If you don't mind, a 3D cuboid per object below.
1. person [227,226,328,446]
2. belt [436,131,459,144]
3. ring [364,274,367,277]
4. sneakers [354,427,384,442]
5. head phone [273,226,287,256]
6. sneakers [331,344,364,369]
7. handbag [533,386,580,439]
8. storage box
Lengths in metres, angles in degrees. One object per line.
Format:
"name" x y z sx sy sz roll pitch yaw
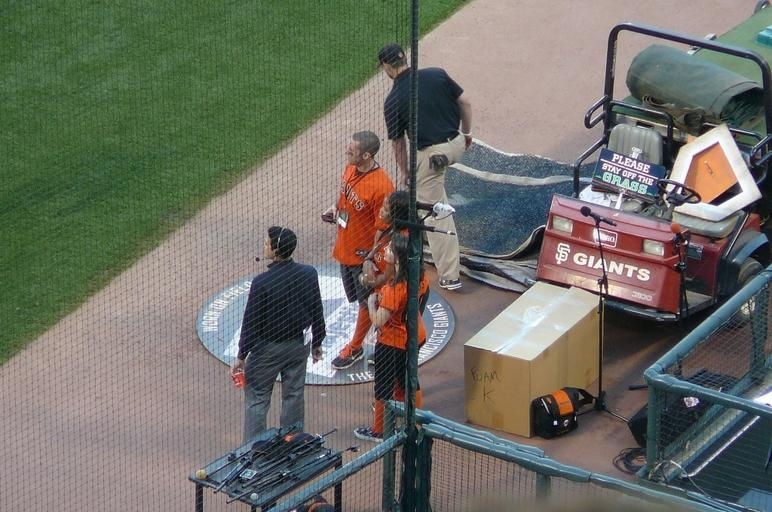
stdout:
"person" -1.017 0.748 15.293 0.618 1.801 1.016 13 32 18
"belt" 0.639 -1.214 17.259 0.127 0.029 0.122 -23 4 -24
"ring" -0.211 0.191 15.665 0.023 0.021 0.016 10 -10 8
"sneakers" -0.175 1.671 15.744 0.251 0.091 0.116 15 19 34
"head phone" -0.957 -0.132 15.229 0.123 0.198 0.168 2 -7 7
"sneakers" -0.389 1.019 16.513 0.382 0.154 0.147 -30 49 -24
"handbag" 1.584 1.522 15.815 0.443 0.378 0.226 -12 33 -23
"storage box" 1.452 1.001 16.422 0.831 0.945 1.505 20 34 32
